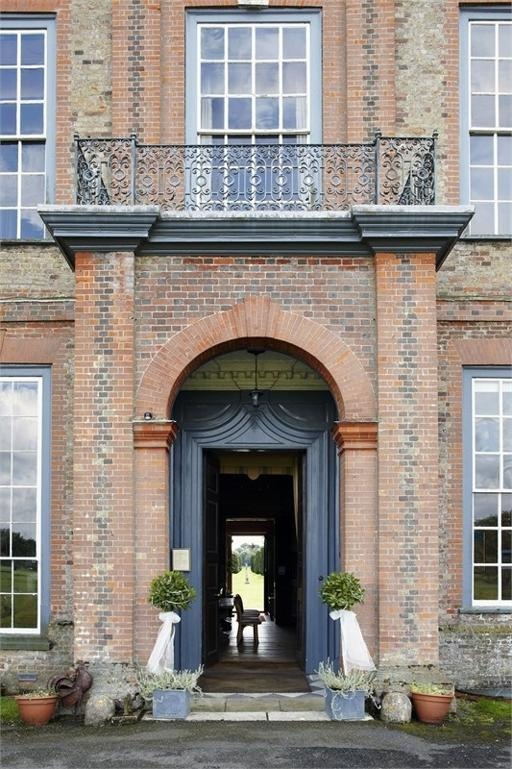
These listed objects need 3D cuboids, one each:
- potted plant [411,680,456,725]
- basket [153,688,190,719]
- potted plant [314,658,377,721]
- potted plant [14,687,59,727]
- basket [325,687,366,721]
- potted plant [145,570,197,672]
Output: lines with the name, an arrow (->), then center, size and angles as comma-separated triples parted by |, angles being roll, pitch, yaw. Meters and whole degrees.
potted plant -> 1.616, 2.888, 12.175 | 0.385, 0.358, 0.267 | -1, -10, 8
basket -> -0.782, 2.884, 12.160 | 0.244, 0.215, 0.270 | -1, -13, 0
potted plant -> 0.849, 2.801, 12.325 | 0.431, 0.369, 0.410 | 1, -10, -4
potted plant -> -1.984, 2.901, 12.086 | 0.272, 0.215, 0.298 | 2, -22, -8
basket -> 0.829, 2.885, 12.129 | 0.256, 0.194, 0.278 | 1, -9, -7
potted plant -> -0.806, 2.193, 12.411 | 0.405, 0.924, 0.513 | 2, -10, -12
